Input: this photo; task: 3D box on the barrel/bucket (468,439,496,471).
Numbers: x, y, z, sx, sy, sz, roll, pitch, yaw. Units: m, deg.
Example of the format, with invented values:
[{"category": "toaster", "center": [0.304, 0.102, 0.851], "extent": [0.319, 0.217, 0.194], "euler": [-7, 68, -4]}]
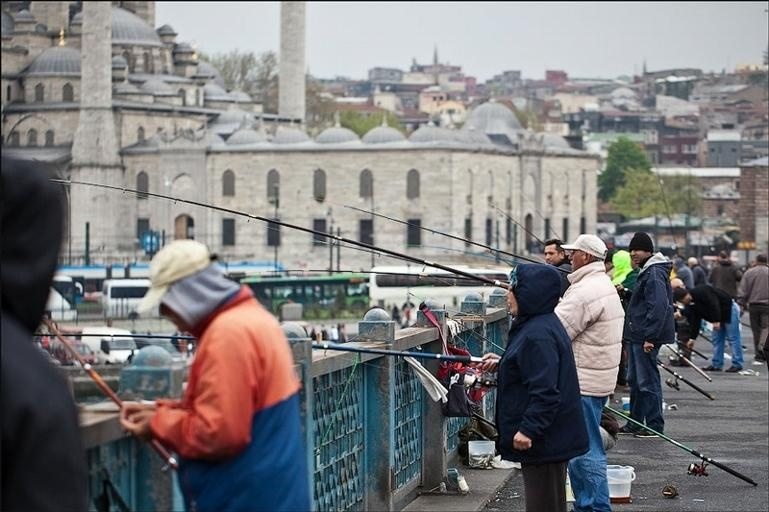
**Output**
[{"category": "barrel/bucket", "center": [4.219, 8.455, 74.413], "extent": [1.164, 1.167, 1.105], "euler": [1, 2, 0]}]

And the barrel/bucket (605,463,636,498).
[{"category": "barrel/bucket", "center": [10.114, 9.583, 73.802], "extent": [1.293, 1.128, 1.314], "euler": [0, -1, 0]}]

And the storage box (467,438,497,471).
[{"category": "storage box", "center": [4.273, 8.460, 74.533], "extent": [1.164, 1.169, 1.105], "euler": [1, 2, 3]}]
